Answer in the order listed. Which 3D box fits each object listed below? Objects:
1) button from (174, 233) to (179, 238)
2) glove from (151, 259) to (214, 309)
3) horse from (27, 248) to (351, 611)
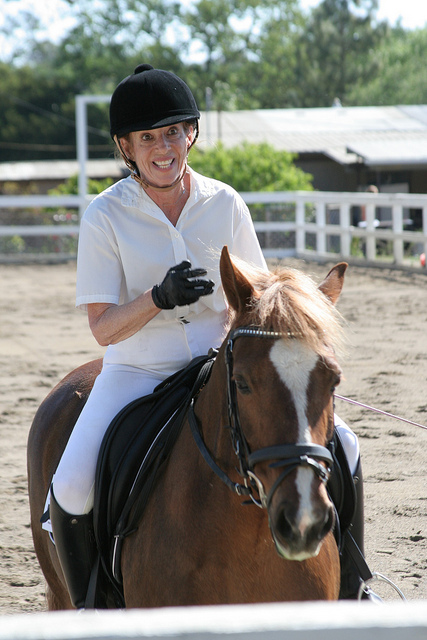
[{"bbox_3d":[-0.129,-0.306,3.993,0.017,0.014,0.005,-4,13,-2],"label":"button"},{"bbox_3d":[-0.114,-0.110,3.629,0.231,0.159,0.077,2,15,24],"label":"glove"},{"bbox_3d":[0.107,0.379,3.459,0.817,1.159,0.486,8,18,41],"label":"horse"}]
